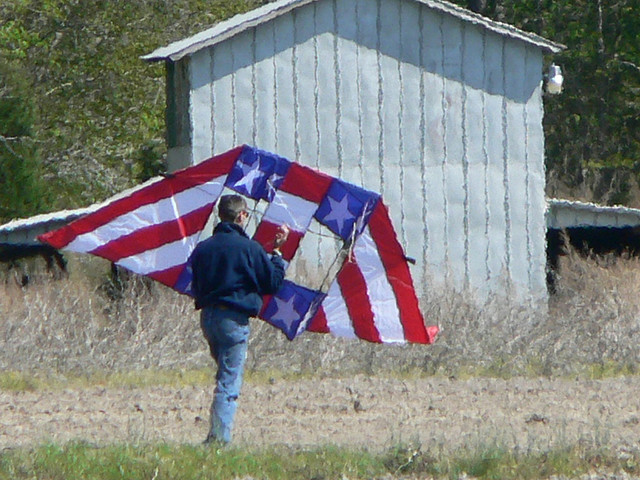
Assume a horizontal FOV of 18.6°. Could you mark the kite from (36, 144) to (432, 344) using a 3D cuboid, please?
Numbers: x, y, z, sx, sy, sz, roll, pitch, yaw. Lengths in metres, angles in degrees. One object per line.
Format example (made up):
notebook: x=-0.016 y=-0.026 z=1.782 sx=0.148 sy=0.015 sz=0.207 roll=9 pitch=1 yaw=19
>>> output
kite: x=-1.071 y=0.046 z=38.074 sx=5.163 sy=4.740 sz=1.995 roll=12 pitch=41 yaw=20
